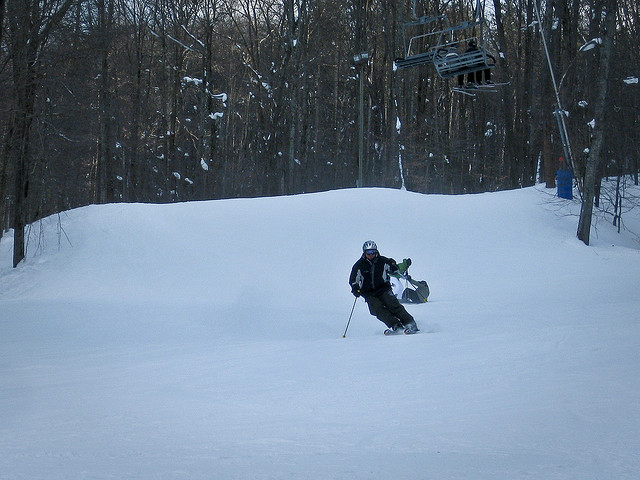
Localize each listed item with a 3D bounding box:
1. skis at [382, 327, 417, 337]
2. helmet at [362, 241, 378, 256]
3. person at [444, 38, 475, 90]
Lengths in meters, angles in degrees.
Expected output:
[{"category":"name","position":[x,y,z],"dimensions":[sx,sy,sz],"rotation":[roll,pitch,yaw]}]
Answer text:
[{"category":"skis","position":[1.779,2.045,17.953],"dimensions":[0.663,0.319,0.247],"rotation":[1,-5,4]},{"category":"helmet","position":[1.181,0.163,18.745],"dimensions":[0.228,0.323,0.336],"rotation":[0,-33,-1]},{"category":"person","position":[3.906,-5.149,23.757],"dimensions":[0.989,1.581,1.354],"rotation":[4,14,26]}]
